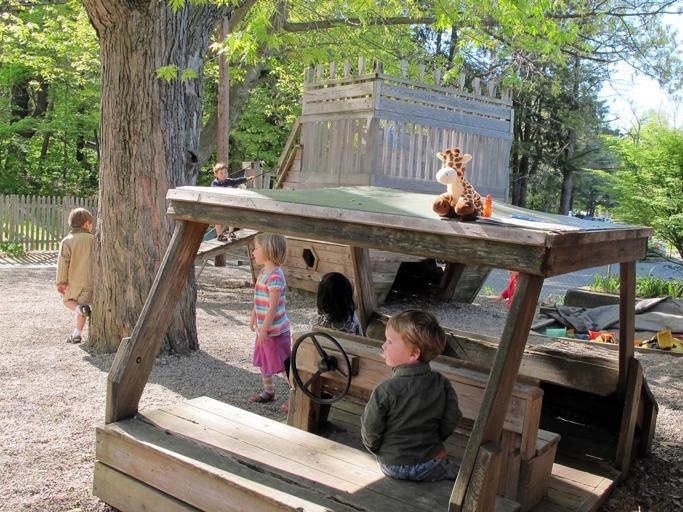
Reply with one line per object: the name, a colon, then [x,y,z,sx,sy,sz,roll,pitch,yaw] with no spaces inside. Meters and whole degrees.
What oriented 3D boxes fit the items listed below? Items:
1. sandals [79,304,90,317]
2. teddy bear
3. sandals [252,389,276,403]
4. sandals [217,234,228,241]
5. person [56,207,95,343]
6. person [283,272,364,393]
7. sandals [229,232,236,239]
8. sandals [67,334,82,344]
sandals: [-3.292,0.696,6.948,0.129,0.169,0.081,-18,-7,22]
teddy bear: [0.678,-0.383,3.315,0.295,0.460,0.483,-5,-11,41]
sandals: [-0.813,1.458,5.653,0.241,0.097,0.116,4,0,-4]
sandals: [-2.253,-0.351,10.182,0.150,0.123,0.302,-3,2,-33]
person: [-3.525,0.258,7.163,0.454,1.781,0.854,-3,13,-26]
person: [-0.050,0.554,4.875,0.863,1.003,0.603,1,14,-1]
sandals: [-2.057,-0.404,10.140,0.093,0.103,0.268,-1,-1,-19]
sandals: [-3.550,1.092,7.172,0.097,0.107,0.237,-1,6,-28]
